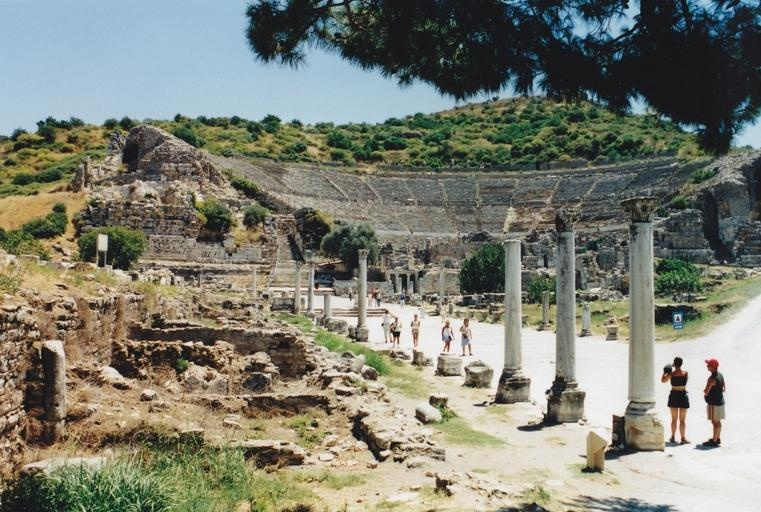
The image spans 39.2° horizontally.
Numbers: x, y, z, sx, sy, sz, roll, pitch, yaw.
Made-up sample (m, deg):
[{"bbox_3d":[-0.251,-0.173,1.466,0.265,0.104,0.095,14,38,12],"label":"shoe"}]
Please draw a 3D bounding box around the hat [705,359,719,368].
[{"bbox_3d":[13.058,4.262,42.176,0.422,0.369,0.787,-1,-7,12],"label":"hat"}]

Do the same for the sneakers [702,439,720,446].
[{"bbox_3d":[12.779,7.206,41.293,0.662,0.284,0.226,-1,-7,15],"label":"sneakers"}]

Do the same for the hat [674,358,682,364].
[{"bbox_3d":[11.676,4.193,42.078,0.283,0.335,0.350,4,7,13],"label":"hat"}]
